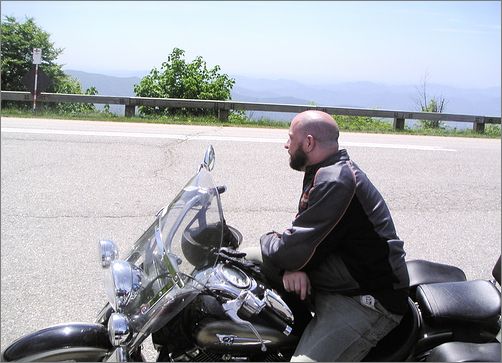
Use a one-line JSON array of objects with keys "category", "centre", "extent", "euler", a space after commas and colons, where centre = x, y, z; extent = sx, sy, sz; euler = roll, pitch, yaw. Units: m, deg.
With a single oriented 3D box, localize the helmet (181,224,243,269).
[{"category": "helmet", "centre": [-0.233, 0.373, 2.465], "extent": [0.258, 0.178, 0.206], "euler": [-28, 39, -7]}]
